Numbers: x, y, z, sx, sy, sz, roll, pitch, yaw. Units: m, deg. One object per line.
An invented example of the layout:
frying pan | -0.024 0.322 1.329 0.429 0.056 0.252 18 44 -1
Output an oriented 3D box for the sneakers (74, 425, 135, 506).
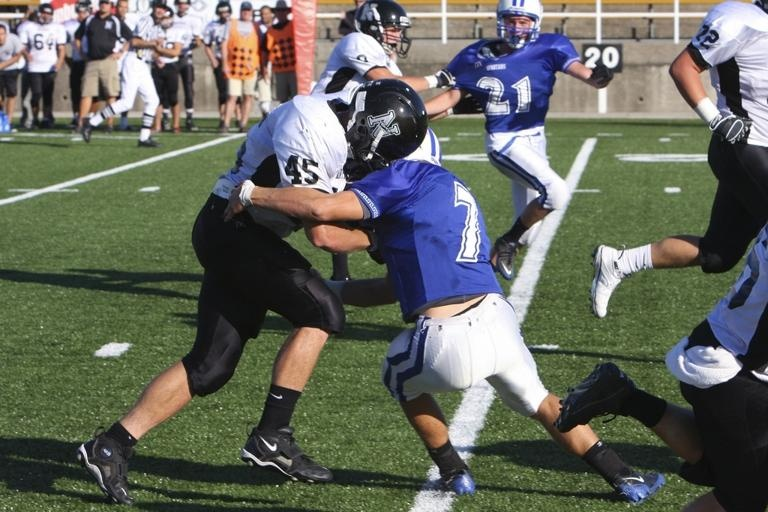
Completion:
sneakers | -1.329 0.991 4.724 0.256 0.359 0.125 2 11 -1

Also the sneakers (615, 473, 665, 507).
sneakers | 1.228 1.088 4.737 0.297 0.119 0.109 -18 14 -34

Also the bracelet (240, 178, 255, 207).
bracelet | -0.660 -0.299 4.735 0.057 0.105 0.085 2 -9 -16

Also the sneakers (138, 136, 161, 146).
sneakers | -3.152 -1.555 13.413 0.392 0.134 0.120 -1 16 -6

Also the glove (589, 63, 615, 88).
glove | 1.553 -1.291 7.074 0.178 0.091 0.210 0 33 -10

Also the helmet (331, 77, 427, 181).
helmet | -0.047 -0.615 4.942 0.489 0.361 0.485 -12 -32 -11

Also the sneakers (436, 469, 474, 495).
sneakers | 0.348 1.096 4.786 0.157 0.055 0.112 -7 -25 29

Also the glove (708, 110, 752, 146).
glove | 1.973 -0.731 5.606 0.227 0.158 0.087 14 -17 12

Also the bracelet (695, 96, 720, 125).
bracelet | 1.885 -0.836 5.723 0.110 0.074 0.203 -32 13 14

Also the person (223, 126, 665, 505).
person | 0.281 0.331 4.832 2.489 1.417 1.023 14 0 30
